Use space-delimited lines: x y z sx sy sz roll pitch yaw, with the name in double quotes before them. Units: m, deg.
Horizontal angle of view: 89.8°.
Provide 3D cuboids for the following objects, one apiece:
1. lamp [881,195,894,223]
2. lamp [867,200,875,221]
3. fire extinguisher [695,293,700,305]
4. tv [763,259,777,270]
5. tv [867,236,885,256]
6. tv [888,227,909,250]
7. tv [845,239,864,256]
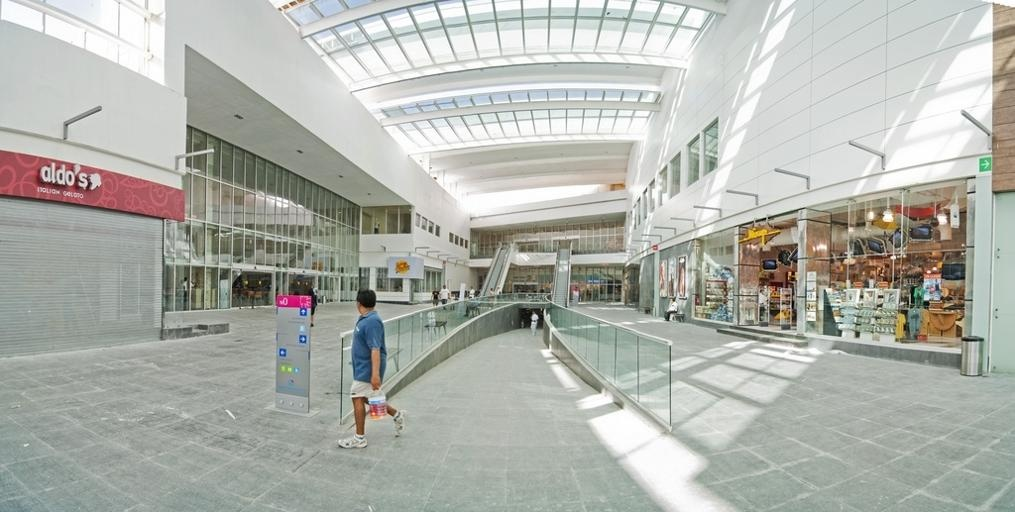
"lamp" 14.462 -1.758 19.304 0.349 0.847 0.643 -2 -7 22
"lamp" 14.057 -1.735 19.741 0.327 0.642 0.494 -4 -8 33
"fire extinguisher" 10.170 2.298 27.148 0.090 0.533 0.378 4 -7 -26
"tv" 13.439 0.415 26.025 0.568 0.502 1.047 -3 -7 30
"tv" 14.454 -0.452 19.896 0.436 0.631 0.738 -16 11 -18
"tv" 14.896 -0.715 19.342 0.586 0.738 0.288 -3 -8 31
"tv" 13.902 -0.388 20.291 0.568 0.819 0.539 7 -18 -22
